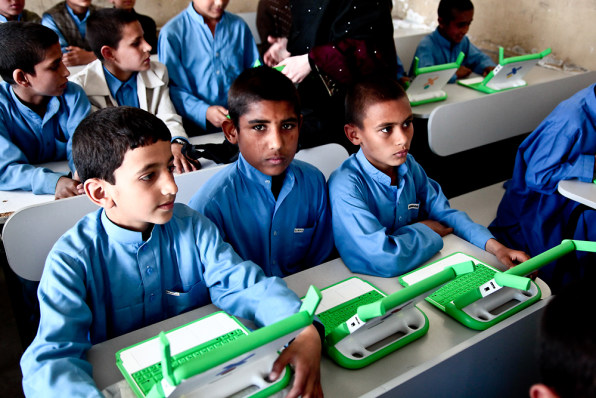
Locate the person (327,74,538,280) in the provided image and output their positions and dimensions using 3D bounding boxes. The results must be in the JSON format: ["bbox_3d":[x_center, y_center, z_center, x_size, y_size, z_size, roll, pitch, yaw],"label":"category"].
[{"bbox_3d":[0.514,-0.095,1.790,0.757,0.741,0.577,-1,18,15],"label":"person"}]
